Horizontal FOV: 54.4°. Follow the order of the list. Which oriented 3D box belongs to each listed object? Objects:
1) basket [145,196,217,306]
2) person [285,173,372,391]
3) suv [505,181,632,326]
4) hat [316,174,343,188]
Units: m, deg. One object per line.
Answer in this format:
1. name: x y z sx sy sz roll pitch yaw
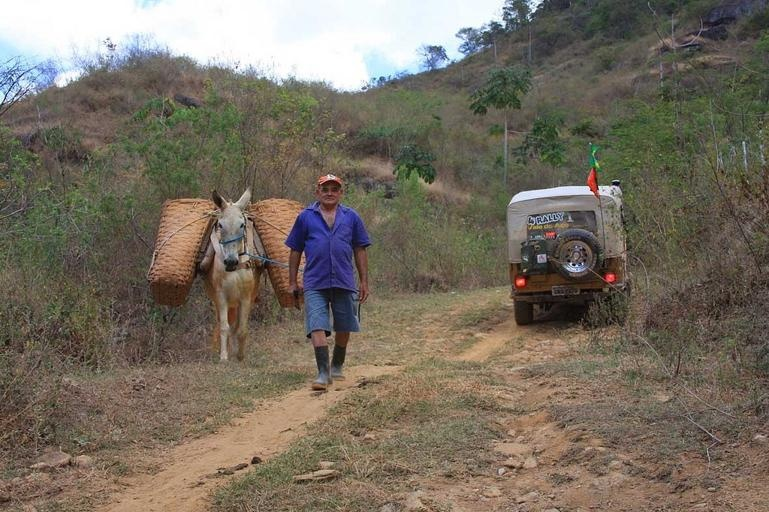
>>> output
1. basket: -3.781 -0.125 14.029 1.050 1.981 0.642 -2 -40 14
2. person: -0.908 0.420 12.331 1.344 3.465 0.669 -3 4 -7
3. suv: 4.011 0.017 16.478 2.537 3.222 1.571 -2 4 19
4. hat: -0.894 -1.252 12.395 0.327 0.194 0.705 -3 4 1
